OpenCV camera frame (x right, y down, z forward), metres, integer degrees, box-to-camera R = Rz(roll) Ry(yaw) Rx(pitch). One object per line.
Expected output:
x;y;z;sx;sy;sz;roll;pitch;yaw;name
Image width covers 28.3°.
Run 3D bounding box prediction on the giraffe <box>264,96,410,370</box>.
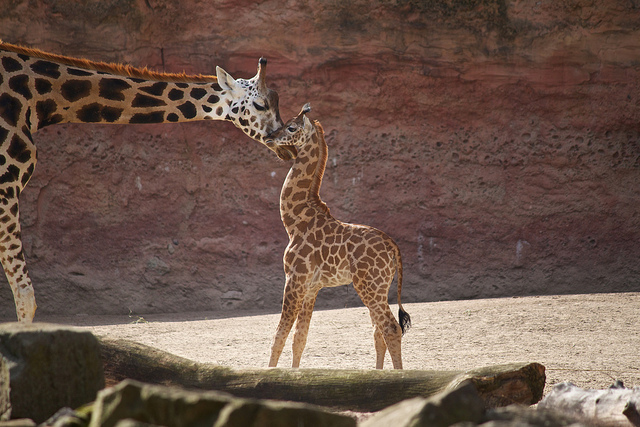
0.193;0.258;13.991;1.379;2.846;0.971;-2;10;-2;giraffe
